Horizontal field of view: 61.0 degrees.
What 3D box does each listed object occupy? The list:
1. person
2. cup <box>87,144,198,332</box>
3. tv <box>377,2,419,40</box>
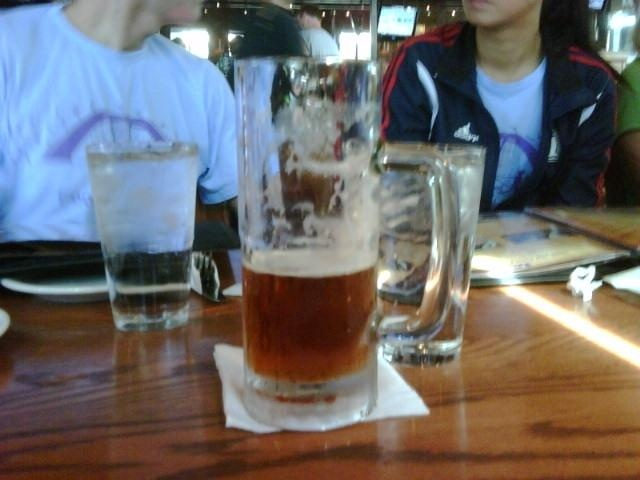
[{"bbox_3d":[0.283,-0.335,1.758,1.109,0.460,0.890,9,16,-16],"label":"person"},{"bbox_3d":[-0.187,-0.005,0.622,0.119,0.215,0.054,-9,16,-16],"label":"cup"},{"bbox_3d":[0.513,-1.457,3.618,0.242,0.182,0.191,3,23,-3],"label":"tv"}]
